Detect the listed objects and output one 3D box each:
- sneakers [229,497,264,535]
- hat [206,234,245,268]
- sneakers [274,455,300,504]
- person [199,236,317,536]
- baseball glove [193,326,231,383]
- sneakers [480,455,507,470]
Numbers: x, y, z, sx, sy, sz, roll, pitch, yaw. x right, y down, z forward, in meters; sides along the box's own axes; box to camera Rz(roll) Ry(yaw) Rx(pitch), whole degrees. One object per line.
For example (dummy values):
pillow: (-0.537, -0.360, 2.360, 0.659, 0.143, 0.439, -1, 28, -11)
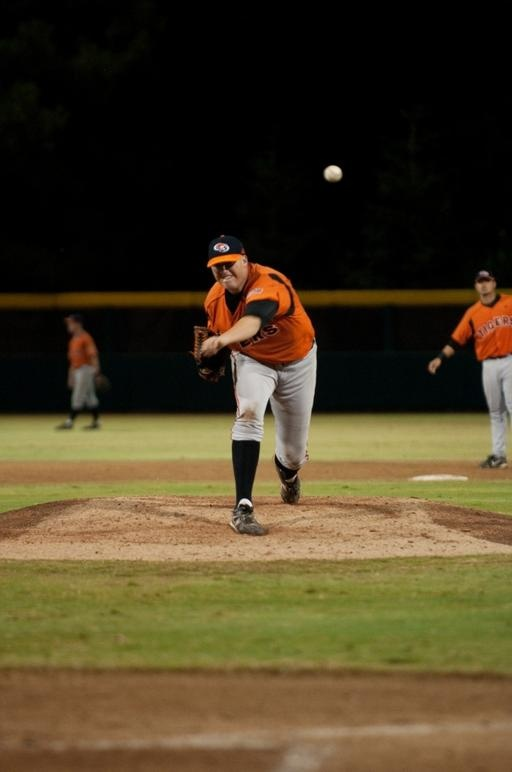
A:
sneakers: (-0.032, 0.615, 4.769, 0.164, 0.160, 0.245, 1, 0, -1)
hat: (-0.134, -0.617, 4.604, 0.157, 0.146, 0.219, 1, 0, -2)
sneakers: (0.193, 0.549, 5.577, 0.109, 0.325, 0.140, -6, 33, 0)
person: (-0.010, -0.006, 4.901, 0.540, 1.365, 1.377, 1, 0, 7)
baseball glove: (-0.234, -0.135, 4.965, 0.193, 0.284, 0.077, -6, 33, 2)
sneakers: (1.968, 0.631, 8.295, 0.133, 0.071, 0.165, -1, 3, -2)
